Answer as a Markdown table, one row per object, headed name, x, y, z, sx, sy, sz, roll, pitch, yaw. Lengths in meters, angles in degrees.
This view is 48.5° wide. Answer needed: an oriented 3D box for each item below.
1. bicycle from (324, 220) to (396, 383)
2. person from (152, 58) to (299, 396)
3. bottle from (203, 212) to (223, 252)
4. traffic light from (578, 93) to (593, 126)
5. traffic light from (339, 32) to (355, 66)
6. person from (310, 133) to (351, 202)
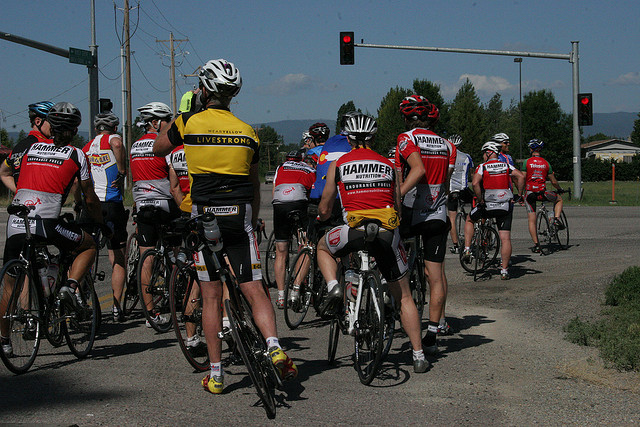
| name | x | y | z | sx | sy | sz | roll | pitch | yaw |
| --- | --- | --- | --- | --- | --- | --- | --- | --- | --- |
| bicycle | 0.492 | 0.985 | 8.746 | 0.864 | 1.895 | 1.454 | 0 | 9 | 1 |
| person | -1.042 | 0.215 | 7.860 | 1.398 | 3.768 | 0.542 | 2 | 8 | 17 |
| bottle | -1.184 | 0.226 | 7.733 | 0.206 | 0.384 | 0.197 | -10 | 14 | 3 |
| traffic light | 10.341 | -4.041 | 27.521 | 0.759 | 1.319 | 0.789 | 0 | -10 | 22 |
| traffic light | 1.021 | -6.128 | 26.228 | 0.471 | 1.127 | 0.742 | -1 | 8 | -6 |
| person | 0.257 | -0.706 | 10.779 | 0.311 | 0.881 | 0.636 | 15 | 3 | 2 |
